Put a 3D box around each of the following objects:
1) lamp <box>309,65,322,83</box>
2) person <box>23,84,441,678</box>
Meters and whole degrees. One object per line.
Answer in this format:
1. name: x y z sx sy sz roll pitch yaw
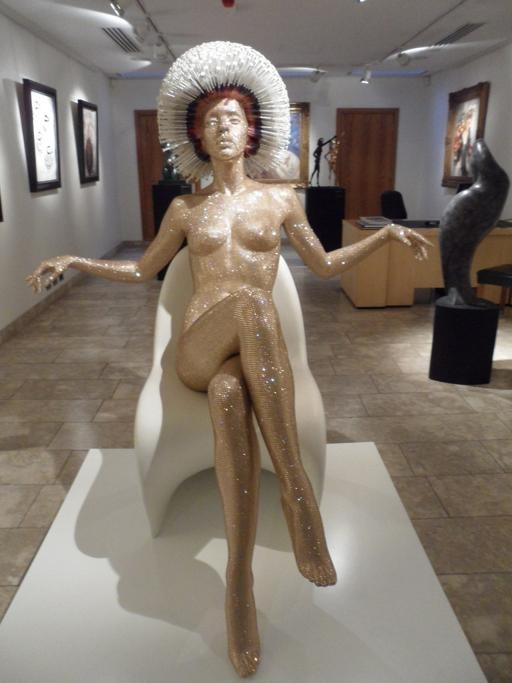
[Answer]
1. lamp: 0.933 -4.102 7.877 0.200 0.183 0.322 5 -2 0
2. person: 0.062 -0.093 1.569 0.886 1.388 1.132 -8 14 -29
